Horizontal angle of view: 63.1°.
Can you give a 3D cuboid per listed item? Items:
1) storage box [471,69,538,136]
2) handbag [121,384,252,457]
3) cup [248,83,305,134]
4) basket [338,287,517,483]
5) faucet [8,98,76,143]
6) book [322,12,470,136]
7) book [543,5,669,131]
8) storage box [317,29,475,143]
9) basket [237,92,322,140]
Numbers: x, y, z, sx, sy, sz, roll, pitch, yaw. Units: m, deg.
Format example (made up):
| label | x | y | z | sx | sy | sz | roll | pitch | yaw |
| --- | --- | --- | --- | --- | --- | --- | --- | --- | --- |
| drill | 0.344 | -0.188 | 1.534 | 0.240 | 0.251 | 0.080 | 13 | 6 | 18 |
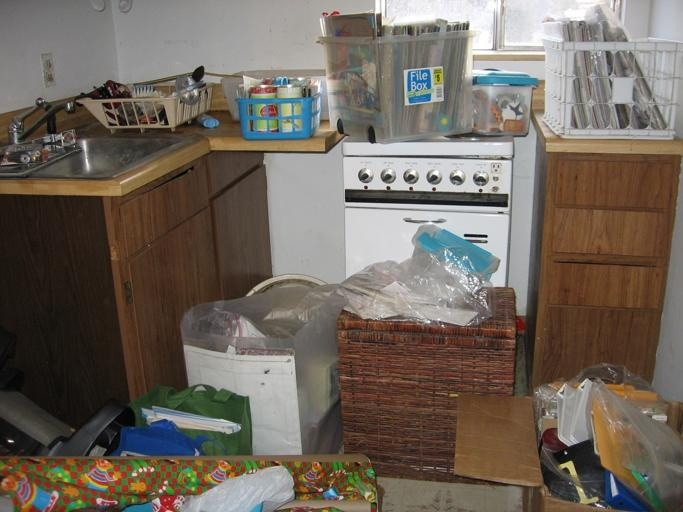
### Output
| label | x | y | z | sx | sy | sz | roll | pitch | yaw |
| --- | --- | --- | --- | --- | --- | --- | --- | --- | --- |
| storage box | 0.654 | -0.625 | 2.377 | 0.239 | 0.242 | 0.337 | -3 | 18 | -8 |
| handbag | -0.430 | 0.530 | 1.858 | 0.392 | 0.370 | 0.214 | -1 | 62 | 19 |
| cup | -0.239 | -0.588 | 2.372 | 0.290 | 0.273 | 0.177 | 3 | 17 | 11 |
| basket | 0.244 | 0.379 | 2.232 | 0.831 | 0.853 | 0.617 | 1 | 8 | 5 |
| faucet | -1.222 | -0.545 | 2.262 | 0.194 | 0.088 | 0.223 | 23 | 49 | 3 |
| book | 0.223 | -0.770 | 2.426 | 0.594 | 0.548 | 0.456 | -14 | 31 | -21 |
| book | 1.025 | -0.724 | 2.162 | 0.423 | 0.467 | 0.393 | 2 | 20 | 8 |
| storage box | 0.223 | -0.742 | 2.342 | 0.540 | 0.382 | 0.418 | -13 | 30 | -18 |
| basket | -0.248 | -0.591 | 2.313 | 0.257 | 0.130 | 0.183 | -16 | 22 | -39 |
